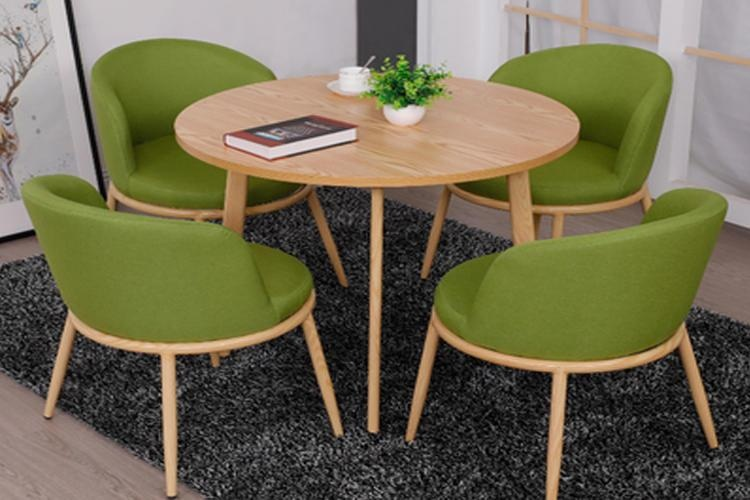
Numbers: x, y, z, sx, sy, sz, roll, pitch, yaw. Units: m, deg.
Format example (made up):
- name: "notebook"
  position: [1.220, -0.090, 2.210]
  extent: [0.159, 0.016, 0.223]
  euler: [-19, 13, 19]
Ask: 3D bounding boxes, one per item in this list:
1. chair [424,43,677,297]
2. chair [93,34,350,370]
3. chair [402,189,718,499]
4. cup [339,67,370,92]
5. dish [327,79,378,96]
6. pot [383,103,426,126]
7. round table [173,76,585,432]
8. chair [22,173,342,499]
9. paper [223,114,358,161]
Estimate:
- name: "chair"
  position: [0.719, -0.405, 2.873]
  extent: [0.966, 1.014, 0.918]
  euler: [-27, 39, -34]
- name: "chair"
  position: [-0.785, -0.392, 2.801]
  extent: [0.961, 0.886, 0.880]
  euler: [6, 34, -3]
- name: "chair"
  position: [0.587, 0.133, 2.184]
  extent: [0.885, 0.993, 0.939]
  euler: [-21, 34, -31]
- name: "cup"
  position: [-0.074, -0.689, 2.530]
  extent: [0.128, 0.071, 0.127]
  euler: [1, 20, 0]
- name: "dish"
  position: [-0.079, -0.632, 2.440]
  extent: [0.147, 0.021, 0.145]
  euler: [-17, 28, -39]
- name: "pot"
  position: [0.101, -0.472, 2.180]
  extent: [0.091, 0.045, 0.088]
  euler: [0, 18, 0]
- name: "round table"
  position: [0.060, 0.127, 2.398]
  extent: [1.378, 0.840, 1.322]
  euler: [1, 30, -1]
- name: "chair"
  position: [-0.571, 0.111, 2.186]
  extent: [0.918, 0.894, 1.035]
  euler: [24, 31, 39]
- name: "paper"
  position: [-0.261, -0.380, 2.070]
  extent: [0.422, 0.056, 0.227]
  euler: [-20, 36, -28]
